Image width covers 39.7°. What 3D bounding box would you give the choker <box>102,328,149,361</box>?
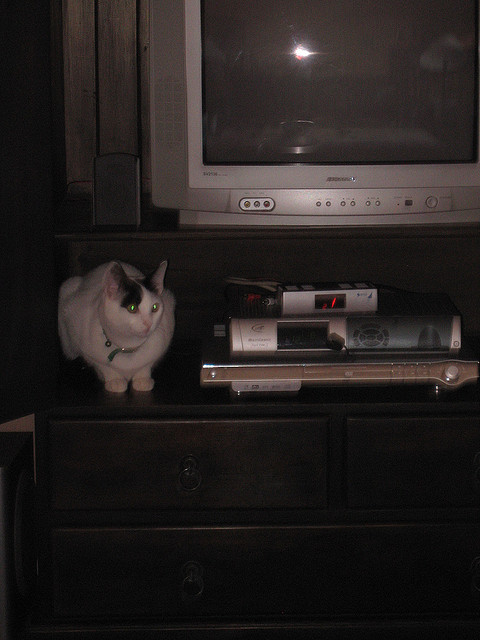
[{"bbox_3d":[-0.224,0.055,1.224,0.060,0.021,0.063,-3,-32,-33],"label":"choker"}]
